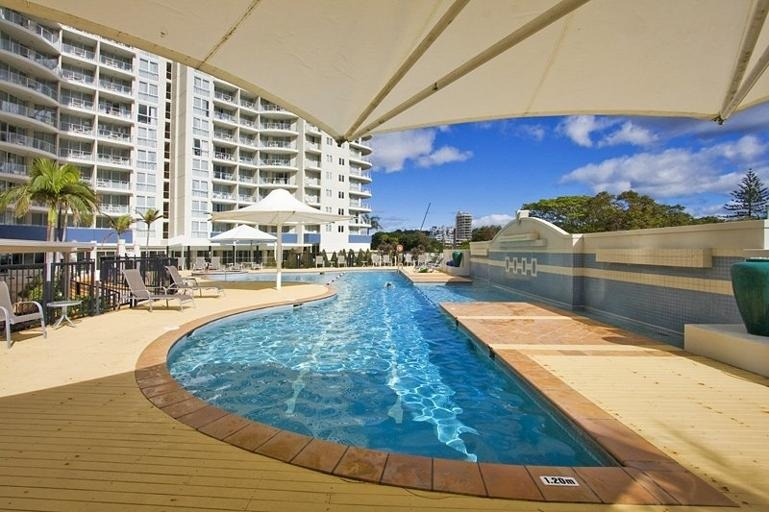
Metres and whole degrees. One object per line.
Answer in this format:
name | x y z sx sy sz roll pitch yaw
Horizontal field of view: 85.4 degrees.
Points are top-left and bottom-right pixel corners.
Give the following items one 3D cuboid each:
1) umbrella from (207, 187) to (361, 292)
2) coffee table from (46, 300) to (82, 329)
umbrella | -4.574 -0.818 17.705 5.379 3.344 5.291 1 7 -8
coffee table | -7.358 1.268 9.550 0.845 0.510 0.809 2 1 -40
